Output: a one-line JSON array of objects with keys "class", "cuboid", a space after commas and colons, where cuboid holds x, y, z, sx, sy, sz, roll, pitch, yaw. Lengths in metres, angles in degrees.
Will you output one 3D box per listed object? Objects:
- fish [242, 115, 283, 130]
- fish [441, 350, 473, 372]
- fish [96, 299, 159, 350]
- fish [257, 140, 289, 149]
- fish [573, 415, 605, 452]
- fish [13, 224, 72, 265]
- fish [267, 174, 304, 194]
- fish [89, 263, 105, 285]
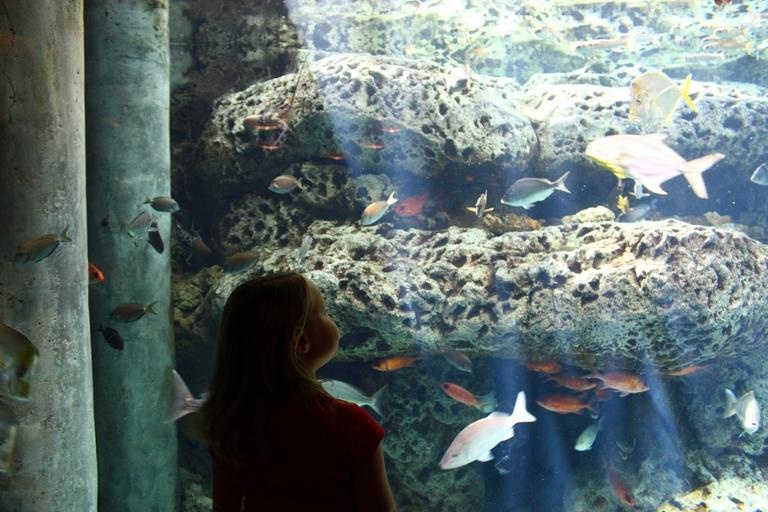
[{"class": "fish", "cuboid": [-2.148, -2.313, 12.666, 0.784, 0.229, 0.286, 4, 7, 25]}, {"class": "fish", "cuboid": [1.151, 1.661, 11.675, 0.431, 0.305, 0.265, 1, 7, 3]}, {"class": "fish", "cuboid": [-3.832, 1.007, 10.811, 1.034, 0.528, 0.281, -32, -1, 3]}, {"class": "fish", "cuboid": [-1.957, -1.921, 12.800, 0.407, 0.144, 0.132, 2, 7, 16]}, {"class": "fish", "cuboid": [3.466, 2.992, 12.273, 0.868, 0.361, 0.146, -25, 15, -36]}, {"class": "fish", "cuboid": [-4.176, -0.164, 9.226, 0.854, 0.347, 0.216, -25, 6, -26]}, {"class": "fish", "cuboid": [-1.651, -1.241, 12.495, 0.544, 0.155, 0.318, -6, 42, -15]}, {"class": "fish", "cuboid": [-4.192, 0.261, 10.723, 0.217, 0.312, 0.333, -2, 7, -20]}]
